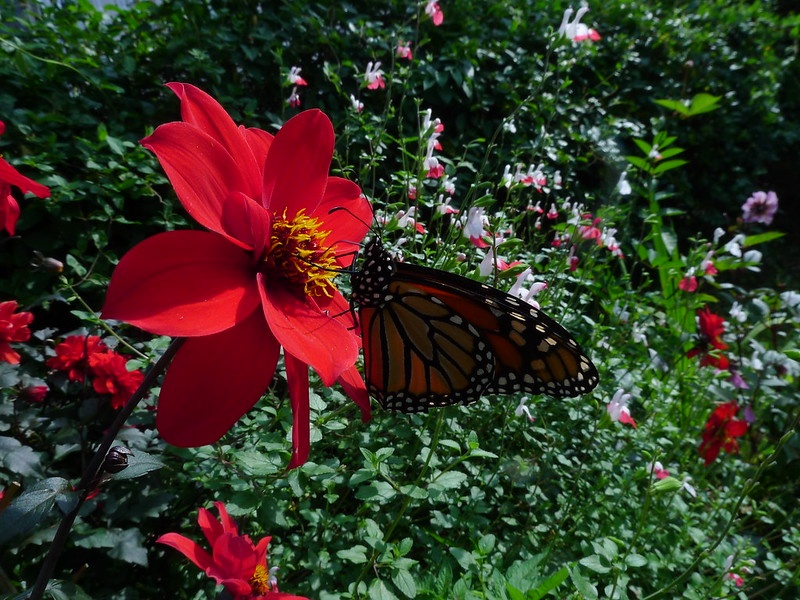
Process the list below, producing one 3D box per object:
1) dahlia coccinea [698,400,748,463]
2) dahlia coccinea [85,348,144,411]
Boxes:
[{"bbox_3d":[1.568,0.653,3.287,0.150,0.245,0.250,21,60,-1],"label":"dahlia coccinea"},{"bbox_3d":[-1.143,0.304,2.700,0.255,0.097,0.262,29,49,-35],"label":"dahlia coccinea"}]
